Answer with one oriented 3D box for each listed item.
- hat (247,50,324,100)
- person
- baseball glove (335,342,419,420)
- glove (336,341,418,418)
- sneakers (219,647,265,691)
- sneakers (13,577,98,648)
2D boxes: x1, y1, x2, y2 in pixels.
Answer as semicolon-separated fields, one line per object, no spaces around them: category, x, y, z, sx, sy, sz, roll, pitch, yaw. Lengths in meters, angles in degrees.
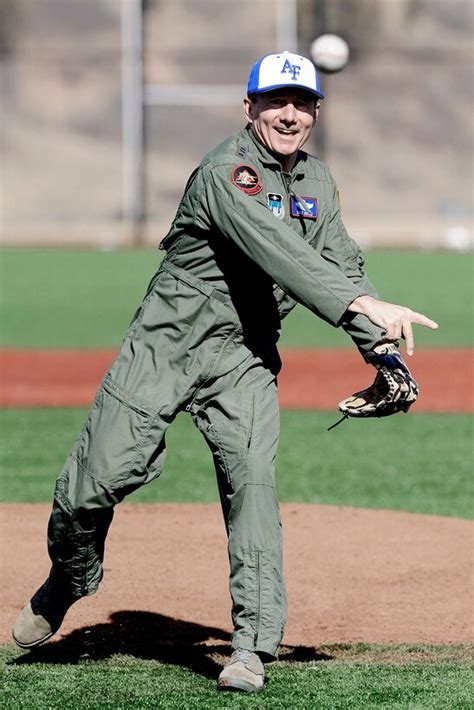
hat;0.146;-0.876;3.249;0.234;0.152;0.202;-1;6;2
person;0.067;-0.038;3.437;1.094;2.009;0.989;2;3;35
baseball glove;0.441;0.083;3.300;0.223;0.235;0.203;-13;22;-35
glove;0.436;0.080;3.294;0.220;0.235;0.199;-13;22;-35
sneakers;0.012;0.929;3.090;0.128;0.107;0.082;-1;7;-3
sneakers;-0.646;0.864;3.483;0.129;0.382;0.150;44;-24;5
